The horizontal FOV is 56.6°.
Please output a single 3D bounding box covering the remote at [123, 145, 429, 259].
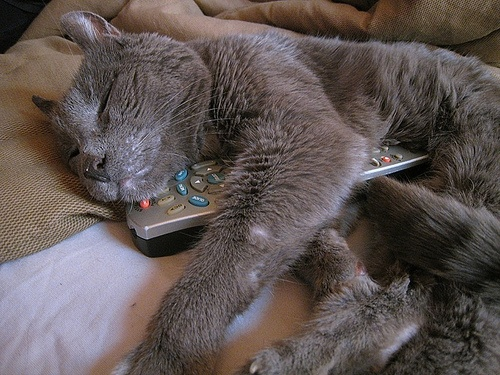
[{"bbox_3d":[0.048,0.014,1.274,0.676,0.138,0.310,-24,39,-5],"label":"remote"}]
